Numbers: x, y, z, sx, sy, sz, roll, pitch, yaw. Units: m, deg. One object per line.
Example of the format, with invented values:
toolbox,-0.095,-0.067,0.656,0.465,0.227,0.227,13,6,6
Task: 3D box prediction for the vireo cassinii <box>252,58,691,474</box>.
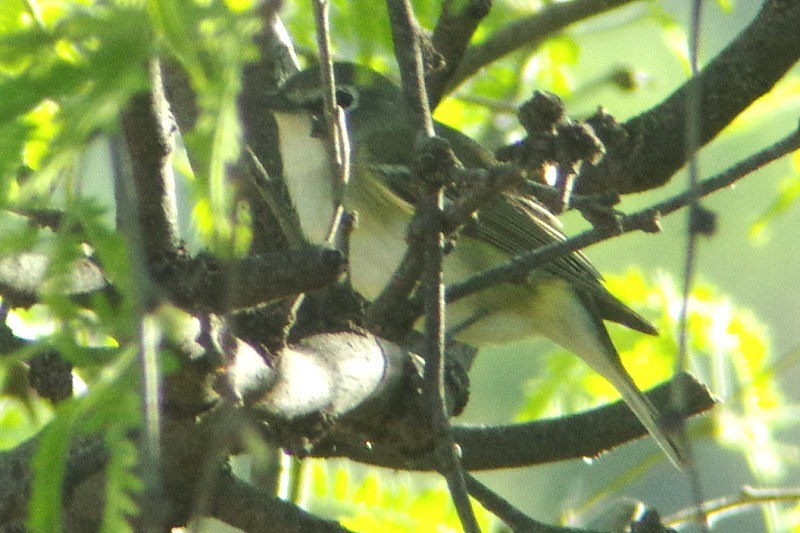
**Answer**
vireo cassinii,0.182,-0.047,4.489,1.380,0.634,0.448,18,-19,-19
